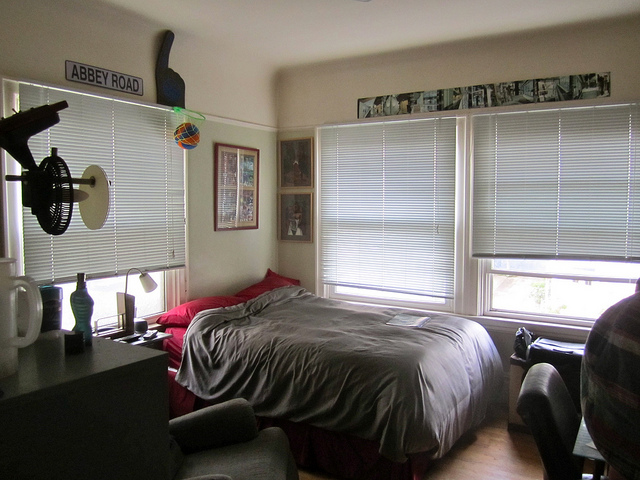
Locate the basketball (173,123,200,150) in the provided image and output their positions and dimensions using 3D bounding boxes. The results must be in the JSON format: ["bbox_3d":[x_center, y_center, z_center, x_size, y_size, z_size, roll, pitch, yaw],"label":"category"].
[{"bbox_3d":[-1.110,-0.862,3.798,0.172,0.204,0.129,-7,13,-26],"label":"basketball"}]

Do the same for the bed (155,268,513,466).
[{"bbox_3d":[-0.080,0.833,3.357,2.087,0.870,1.442,1,5,33],"label":"bed"}]
